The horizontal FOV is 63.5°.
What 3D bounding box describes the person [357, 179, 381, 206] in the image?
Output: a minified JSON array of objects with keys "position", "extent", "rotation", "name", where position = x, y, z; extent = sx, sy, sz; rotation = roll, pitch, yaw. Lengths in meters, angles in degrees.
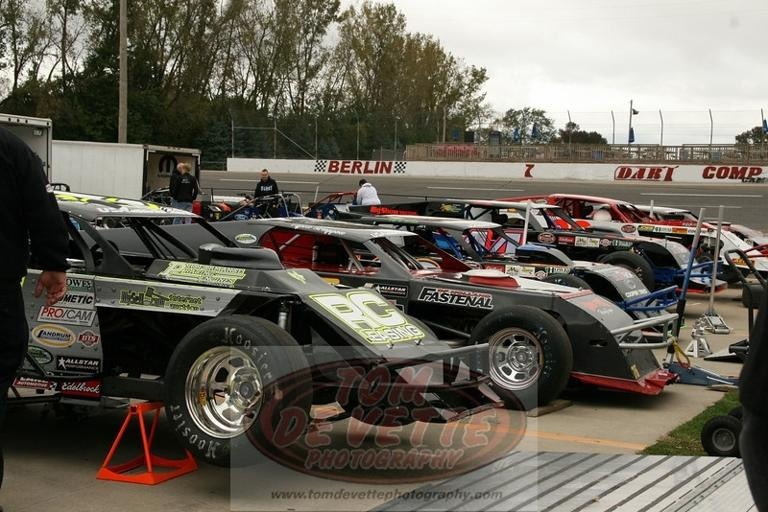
[{"position":[-0.497,-1.861,18.777],"extent":[0.819,0.451,1.247],"rotation":[-6,24,-13],"name":"person"}]
